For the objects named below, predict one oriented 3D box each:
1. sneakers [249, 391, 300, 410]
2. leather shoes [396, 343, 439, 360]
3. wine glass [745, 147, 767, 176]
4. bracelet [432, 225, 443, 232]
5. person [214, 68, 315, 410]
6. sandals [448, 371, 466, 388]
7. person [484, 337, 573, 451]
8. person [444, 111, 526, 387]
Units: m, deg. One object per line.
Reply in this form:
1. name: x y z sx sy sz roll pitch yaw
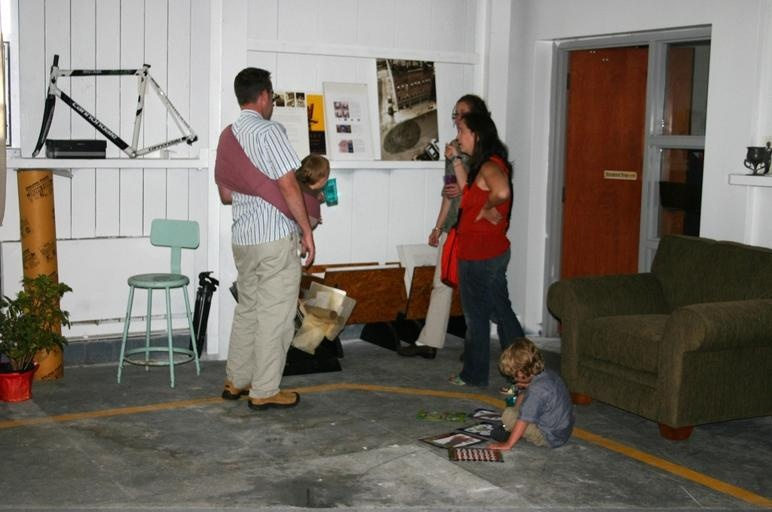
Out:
1. sneakers: -0.877 1.098 5.034 0.306 0.126 0.159 -8 9 -17
2. leather shoes: 0.316 0.965 6.472 0.395 0.142 0.142 9 5 14
3. wine glass: 3.135 -0.790 5.414 0.196 0.244 0.174 7 11 35
4. bracelet: 0.510 -0.253 6.280 0.051 0.039 0.094 -1 -12 16
5. person: -0.901 -0.110 4.929 0.771 2.620 0.417 8 11 38
6. sandals: 0.627 1.114 5.690 0.070 0.063 0.154 0 8 -18
7. person: 1.003 0.957 4.394 0.596 0.745 0.215 -2 9 -16
8. person: 0.822 -0.008 5.398 0.571 2.345 0.430 8 11 38
